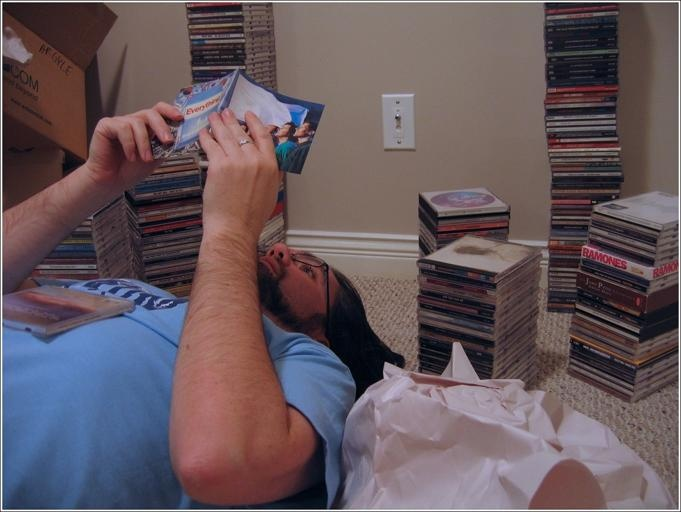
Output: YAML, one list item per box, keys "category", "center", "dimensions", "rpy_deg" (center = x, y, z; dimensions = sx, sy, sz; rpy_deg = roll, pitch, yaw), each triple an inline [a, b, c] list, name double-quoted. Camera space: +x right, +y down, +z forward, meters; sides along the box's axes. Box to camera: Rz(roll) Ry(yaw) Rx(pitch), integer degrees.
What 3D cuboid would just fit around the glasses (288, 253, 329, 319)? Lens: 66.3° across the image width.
- category: "glasses"
  center: [-0.056, 0.062, 1.203]
  dimensions: [0.036, 0.127, 0.122]
  rpy_deg: [-3, -2, 12]
